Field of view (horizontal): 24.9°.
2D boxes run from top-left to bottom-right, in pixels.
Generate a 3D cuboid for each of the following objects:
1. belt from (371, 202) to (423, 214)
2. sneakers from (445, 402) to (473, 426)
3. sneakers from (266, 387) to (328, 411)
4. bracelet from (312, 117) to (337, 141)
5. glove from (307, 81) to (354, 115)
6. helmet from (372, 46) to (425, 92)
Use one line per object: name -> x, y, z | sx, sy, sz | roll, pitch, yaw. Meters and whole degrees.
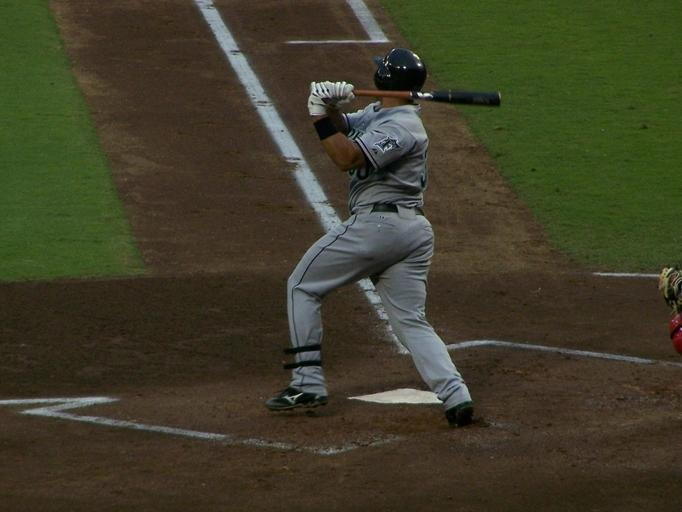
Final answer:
belt -> 0.409, -0.334, 11.445 | 0.410, 0.114, 0.097 | -6, 16, -22
sneakers -> 0.847, 1.170, 11.287 | 0.165, 0.066, 0.218 | -3, -14, -20
sneakers -> -0.365, 1.084, 11.647 | 0.545, 0.185, 0.166 | 1, 1, -4
bracelet -> -0.139, -0.935, 11.345 | 0.172, 0.155, 0.301 | -1, 13, -1
glove -> -0.121, -1.163, 11.388 | 0.351, 0.264, 0.113 | -3, 47, -3
helmet -> 0.461, -1.401, 11.648 | 0.480, 0.301, 0.336 | 15, 31, 38
